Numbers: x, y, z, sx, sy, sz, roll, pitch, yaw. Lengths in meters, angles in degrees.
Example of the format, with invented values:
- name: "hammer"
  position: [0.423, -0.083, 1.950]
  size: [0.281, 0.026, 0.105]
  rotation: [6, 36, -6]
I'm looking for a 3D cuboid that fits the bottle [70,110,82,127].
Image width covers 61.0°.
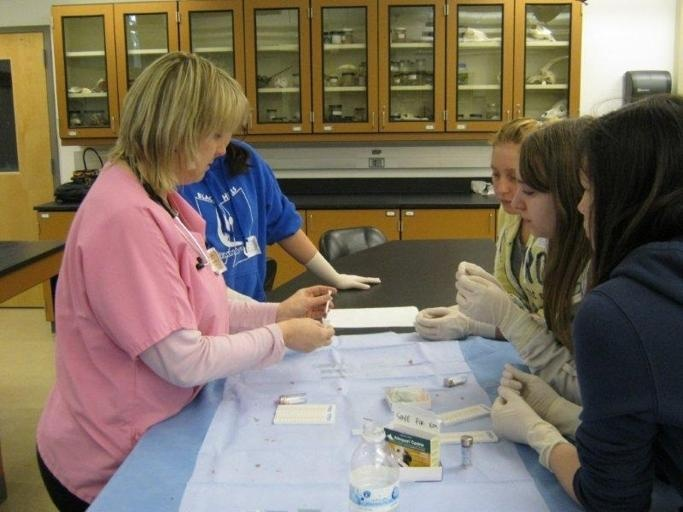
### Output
- name: "bottle"
  position: [-2.045, -1.061, 4.472]
  size: [0.102, 0.104, 0.026]
  rotation: [-3, 2, -20]

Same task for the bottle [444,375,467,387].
- name: "bottle"
  position: [0.307, 0.343, 1.587]
  size: [0.050, 0.022, 0.030]
  rotation: [-4, 4, -19]

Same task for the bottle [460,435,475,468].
- name: "bottle"
  position: [0.283, 0.429, 1.327]
  size: [0.026, 0.070, 0.089]
  rotation: [-2, 10, 14]

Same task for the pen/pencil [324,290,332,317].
- name: "pen/pencil"
  position: [-0.046, 0.158, 1.911]
  size: [0.022, 0.091, 0.025]
  rotation: [8, 2, 2]

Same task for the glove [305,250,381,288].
- name: "glove"
  position: [-0.019, 0.084, 2.457]
  size: [0.336, 0.128, 0.093]
  rotation: [25, 60, 8]
